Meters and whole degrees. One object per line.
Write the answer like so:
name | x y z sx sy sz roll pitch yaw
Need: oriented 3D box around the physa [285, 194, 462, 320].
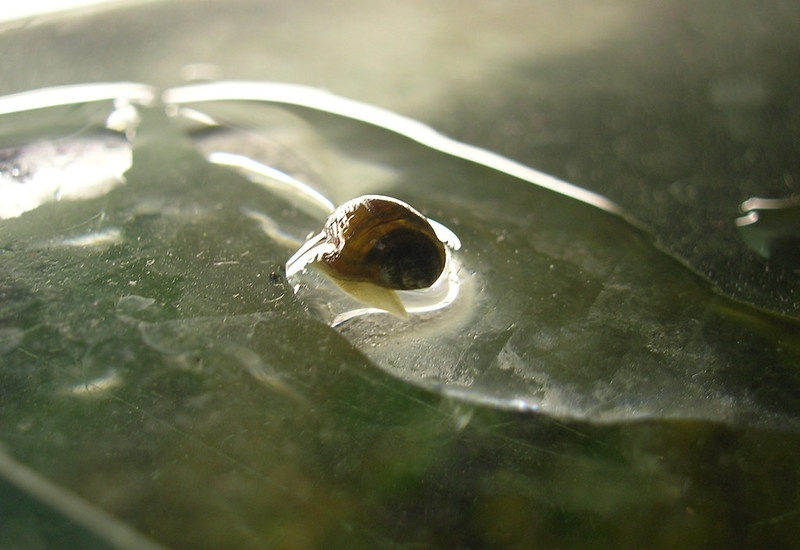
physa | -0.026 -0.055 1.049 0.230 0.080 0.208 -21 41 -21
